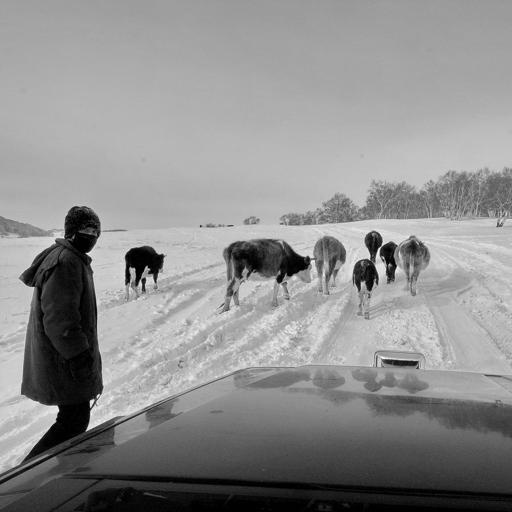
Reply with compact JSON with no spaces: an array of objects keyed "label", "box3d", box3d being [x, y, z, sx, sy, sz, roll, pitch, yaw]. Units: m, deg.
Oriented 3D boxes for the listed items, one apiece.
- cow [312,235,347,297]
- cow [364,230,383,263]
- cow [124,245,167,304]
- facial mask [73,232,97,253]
[{"label":"cow","box3d":[2.404,0.233,12.418,0.862,1.931,2.643,-2,-4,17]},{"label":"cow","box3d":[5.193,-0.376,16.727,0.520,1.390,2.312,-2,-20,13]},{"label":"cow","box3d":[-3.812,0.481,12.568,0.689,1.733,1.997,-1,-3,7]},{"label":"facial mask","box3d":[-1.577,-0.107,3.456,0.151,0.188,0.184,6,-3,-33]}]
